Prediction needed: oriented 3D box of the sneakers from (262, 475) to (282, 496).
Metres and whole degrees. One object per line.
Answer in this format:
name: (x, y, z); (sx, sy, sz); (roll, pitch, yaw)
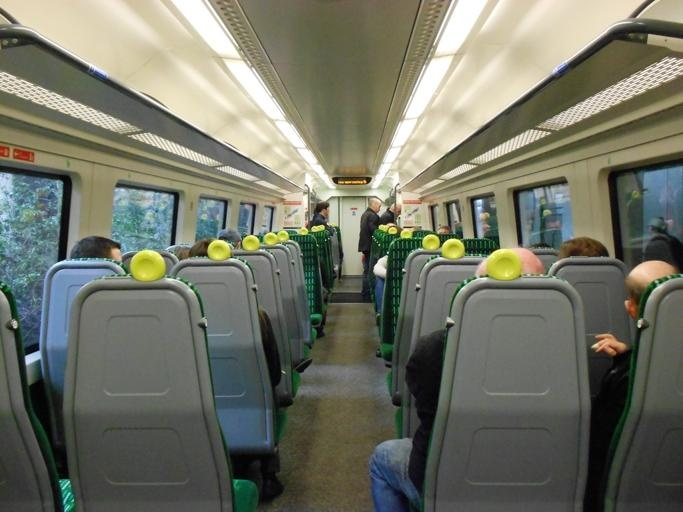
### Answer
sneakers: (-0.519, 1.711, 3.659); (0.144, 0.163, 0.149); (1, -6, -1)

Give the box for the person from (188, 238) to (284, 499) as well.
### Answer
person: (-0.829, 0.798, 3.985); (0.758, 1.921, 1.406); (-2, 6, -18)

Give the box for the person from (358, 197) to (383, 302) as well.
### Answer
person: (0.767, -0.263, 12.332); (0.641, 2.404, 0.768); (1, 9, 2)
